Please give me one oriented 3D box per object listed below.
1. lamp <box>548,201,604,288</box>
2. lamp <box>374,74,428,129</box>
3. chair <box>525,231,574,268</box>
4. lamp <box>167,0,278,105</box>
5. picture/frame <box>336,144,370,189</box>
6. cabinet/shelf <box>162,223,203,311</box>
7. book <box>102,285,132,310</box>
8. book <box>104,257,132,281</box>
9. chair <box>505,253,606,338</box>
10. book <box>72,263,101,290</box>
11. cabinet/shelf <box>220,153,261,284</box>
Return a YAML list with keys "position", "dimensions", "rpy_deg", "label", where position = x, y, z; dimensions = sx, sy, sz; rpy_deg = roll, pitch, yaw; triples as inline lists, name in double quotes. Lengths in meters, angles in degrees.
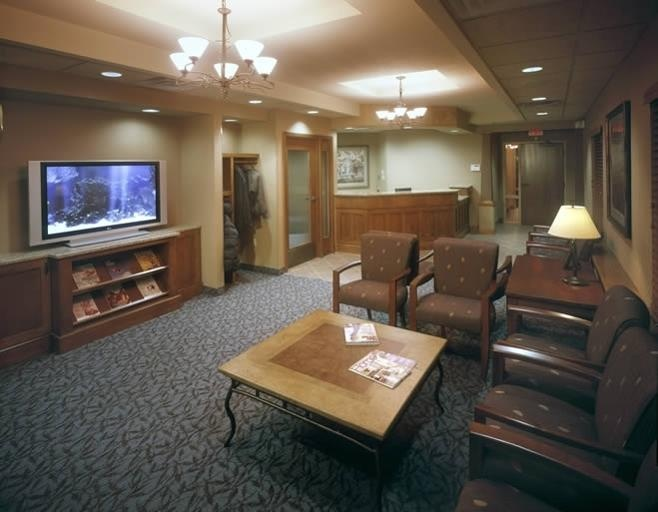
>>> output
- position: [2.195, -0.109, 4.121]
  dimensions: [0.400, 0.688, 0.407]
  rpy_deg: [-13, 12, -40]
  label: "lamp"
- position: [1.183, -2.550, 7.613]
  dimensions: [0.845, 0.803, 0.889]
  rpy_deg: [3, 23, 17]
  label: "lamp"
- position: [2.658, -0.075, 5.533]
  dimensions: [0.337, 0.564, 0.381]
  rpy_deg: [10, 18, 34]
  label: "chair"
- position: [-0.995, -1.856, 4.290]
  dimensions: [0.864, 0.771, 1.945]
  rpy_deg: [-4, 13, -14]
  label: "lamp"
- position: [0.472, -2.104, 10.710]
  dimensions: [0.891, 0.939, 0.047]
  rpy_deg: [-4, 13, -16]
  label: "picture/frame"
- position: [-1.893, 0.156, 5.862]
  dimensions: [0.373, 0.932, 0.939]
  rpy_deg: [2, 10, 10]
  label: "cabinet/shelf"
- position: [-2.402, 0.473, 5.208]
  dimensions: [0.220, 0.054, 0.239]
  rpy_deg: [-8, 59, -43]
  label: "book"
- position: [-2.395, 0.123, 5.235]
  dimensions: [0.216, 0.047, 0.243]
  rpy_deg: [-9, 55, -45]
  label: "book"
- position: [1.969, 0.283, 4.037]
  dimensions: [0.625, 0.561, 1.145]
  rpy_deg: [9, 20, 25]
  label: "chair"
- position: [-2.623, 0.216, 4.949]
  dimensions: [0.248, 0.250, 0.227]
  rpy_deg: [34, 35, 13]
  label: "book"
- position: [-1.266, -0.597, 6.902]
  dimensions: [0.595, 1.853, 1.105]
  rpy_deg: [-1, 12, 0]
  label: "cabinet/shelf"
